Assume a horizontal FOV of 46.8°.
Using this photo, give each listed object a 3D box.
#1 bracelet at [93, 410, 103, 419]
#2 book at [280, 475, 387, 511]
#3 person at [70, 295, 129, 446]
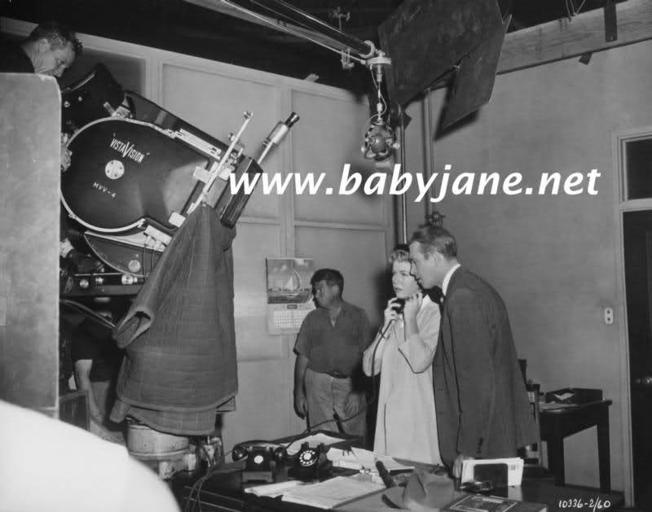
[{"bbox_3d":[-1.346,0.925,4.425,0.033,0.054,0.017,-9,20,-33],"label":"bracelet"},{"bbox_3d":[0.025,0.998,3.183,0.396,0.104,0.294,13,-14,-42],"label":"book"},{"bbox_3d":[-1.306,0.643,4.354,0.338,0.792,0.747,5,-10,-15],"label":"person"}]
